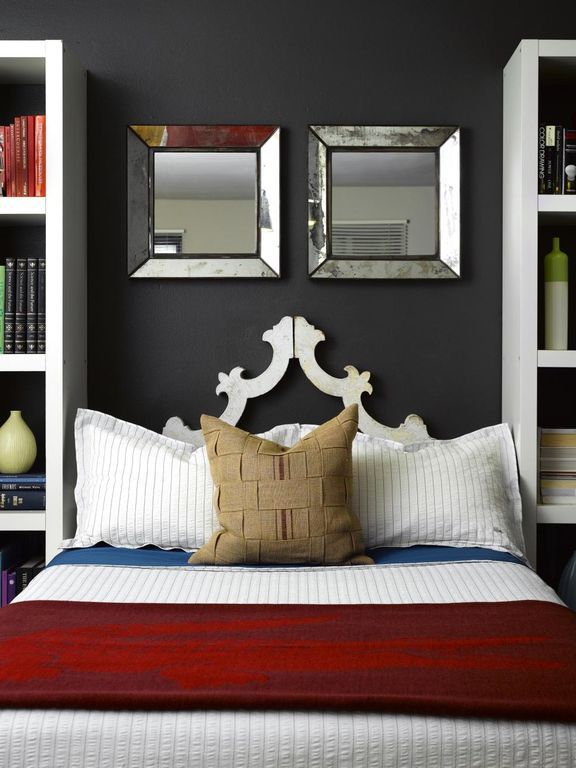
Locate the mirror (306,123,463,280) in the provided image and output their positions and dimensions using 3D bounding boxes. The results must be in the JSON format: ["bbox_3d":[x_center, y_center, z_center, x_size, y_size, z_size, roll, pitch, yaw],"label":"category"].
[{"bbox_3d":[0.319,-0.624,2.487,0.410,0.521,0.037,-1,8,-6],"label":"mirror"}]

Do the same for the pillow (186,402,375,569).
[{"bbox_3d":[-0.018,0.291,2.014,0.302,0.341,0.132,-1,-22,1],"label":"pillow"}]

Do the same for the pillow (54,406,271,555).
[{"bbox_3d":[-0.406,0.281,2.102,0.384,0.367,0.109,7,-6,28],"label":"pillow"}]

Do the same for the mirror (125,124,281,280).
[{"bbox_3d":[-0.283,-0.621,2.495,0.481,0.604,0.034,-1,-23,-7],"label":"mirror"}]
